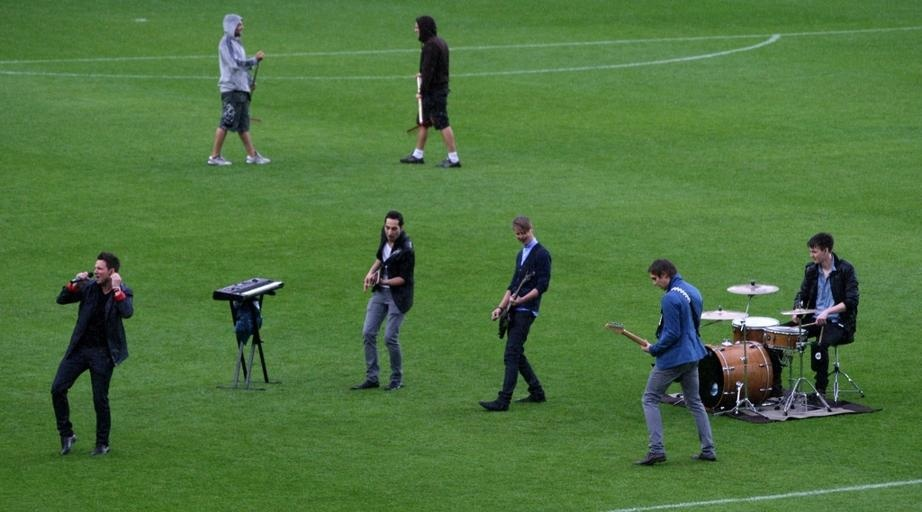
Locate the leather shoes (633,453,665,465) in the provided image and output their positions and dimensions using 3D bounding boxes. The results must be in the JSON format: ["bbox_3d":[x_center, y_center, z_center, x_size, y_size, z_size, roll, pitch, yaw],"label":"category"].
[{"bbox_3d":[4.382,4.780,47.833,0.747,0.232,0.233,0,7,6],"label":"leather shoes"}]

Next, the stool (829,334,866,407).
[{"bbox_3d":[9.107,2.753,49.940,1.572,1.284,1.329,1,13,-10],"label":"stool"}]

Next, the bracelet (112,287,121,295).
[{"bbox_3d":[-8.113,0.818,48.022,0.172,0.164,0.067,-1,18,-2],"label":"bracelet"}]

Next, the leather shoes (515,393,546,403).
[{"bbox_3d":[1.616,3.472,49.747,0.796,0.242,0.230,2,3,8],"label":"leather shoes"}]

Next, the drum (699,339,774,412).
[{"bbox_3d":[6.512,2.841,50.093,1.986,1.876,2.097,-1,6,-31],"label":"drum"}]

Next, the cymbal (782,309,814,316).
[{"bbox_3d":[8.185,1.398,49.821,0.813,0.169,0.583,-2,7,-1],"label":"cymbal"}]

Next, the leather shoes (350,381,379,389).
[{"bbox_3d":[-2.372,3.173,50.062,0.740,0.213,0.213,1,1,-4],"label":"leather shoes"}]

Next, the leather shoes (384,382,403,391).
[{"bbox_3d":[-1.664,3.185,49.975,0.449,0.195,0.123,-3,10,-6],"label":"leather shoes"}]

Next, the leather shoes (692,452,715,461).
[{"bbox_3d":[5.687,4.727,47.867,0.576,0.173,0.190,4,10,23],"label":"leather shoes"}]

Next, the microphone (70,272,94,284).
[{"bbox_3d":[-9.126,0.530,49.162,0.624,0.192,0.156,-8,30,-9],"label":"microphone"}]

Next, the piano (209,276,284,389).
[{"bbox_3d":[-5.407,1.820,50.319,1.568,2.891,1.435,3,-1,-26],"label":"piano"}]

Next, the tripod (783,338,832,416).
[{"bbox_3d":[8.270,2.993,49.681,1.128,1.748,1.009,2,0,-6],"label":"tripod"}]

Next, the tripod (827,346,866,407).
[{"bbox_3d":[9.393,2.938,49.925,0.817,1.311,0.674,2,0,-4],"label":"tripod"}]

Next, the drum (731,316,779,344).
[{"bbox_3d":[6.979,1.763,49.650,0.947,0.480,0.806,-1,3,-12],"label":"drum"}]

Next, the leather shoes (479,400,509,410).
[{"bbox_3d":[0.779,3.635,49.424,0.742,0.228,0.245,4,-3,0],"label":"leather shoes"}]

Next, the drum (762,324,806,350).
[{"bbox_3d":[7.742,1.972,49.202,0.744,0.229,0.759,1,5,0],"label":"drum"}]
